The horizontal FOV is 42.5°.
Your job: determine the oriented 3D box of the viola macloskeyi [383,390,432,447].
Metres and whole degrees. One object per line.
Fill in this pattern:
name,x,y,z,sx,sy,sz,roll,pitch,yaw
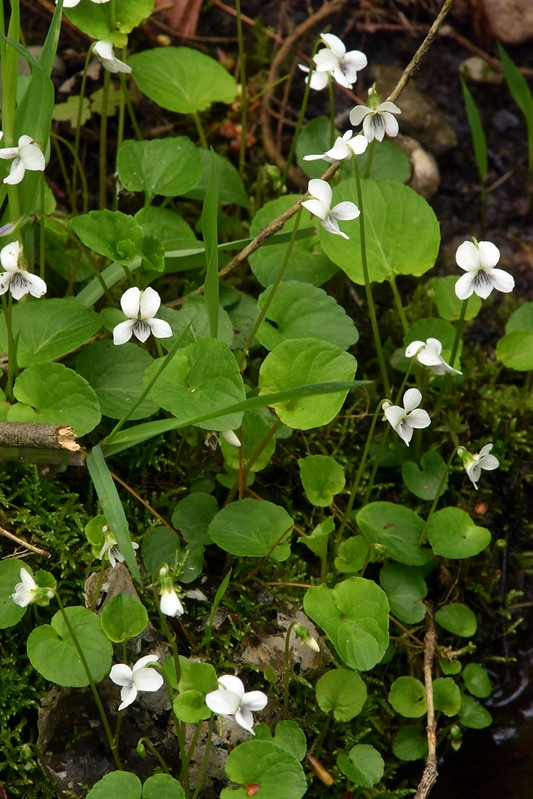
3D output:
viola macloskeyi,0.325,0.039,1.596,0.124,0.101,0.119,9,30,13

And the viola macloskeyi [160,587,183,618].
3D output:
viola macloskeyi,-0.185,0.402,1.320,0.041,0.112,0.054,5,49,-10

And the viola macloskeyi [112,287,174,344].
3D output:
viola macloskeyi,-0.262,-0.177,1.444,0.127,0.106,0.052,-2,28,-8

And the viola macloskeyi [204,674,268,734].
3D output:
viola macloskeyi,-0.052,0.557,1.252,0.100,0.038,0.104,-7,9,-18

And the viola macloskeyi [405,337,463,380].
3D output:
viola macloskeyi,0.399,-0.083,1.658,0.126,0.052,0.125,15,46,32

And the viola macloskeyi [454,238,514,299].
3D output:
viola macloskeyi,0.518,-0.316,1.686,0.142,0.160,0.056,-9,15,8
